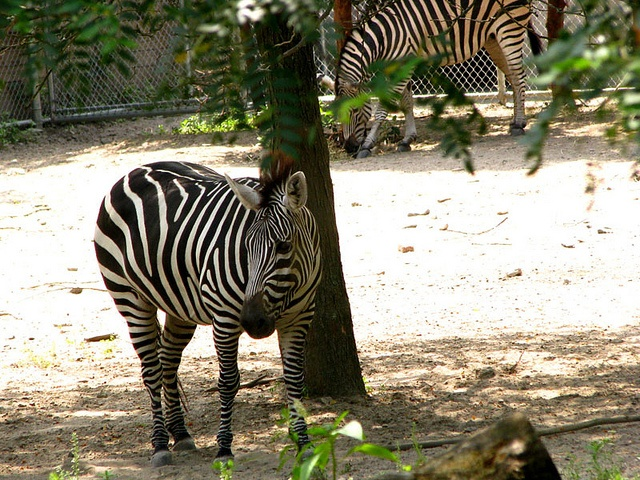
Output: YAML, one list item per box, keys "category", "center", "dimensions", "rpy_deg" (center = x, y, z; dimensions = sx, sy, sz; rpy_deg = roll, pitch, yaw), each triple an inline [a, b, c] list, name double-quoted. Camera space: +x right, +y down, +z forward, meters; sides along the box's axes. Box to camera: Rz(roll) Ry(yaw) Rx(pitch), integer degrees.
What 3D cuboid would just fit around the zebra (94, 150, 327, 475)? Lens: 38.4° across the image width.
- category: "zebra"
  center: [-0.787, 0.466, 6.096]
  dimensions: [1.585, 1.955, 0.869]
  rpy_deg: [8, 21, 33]
